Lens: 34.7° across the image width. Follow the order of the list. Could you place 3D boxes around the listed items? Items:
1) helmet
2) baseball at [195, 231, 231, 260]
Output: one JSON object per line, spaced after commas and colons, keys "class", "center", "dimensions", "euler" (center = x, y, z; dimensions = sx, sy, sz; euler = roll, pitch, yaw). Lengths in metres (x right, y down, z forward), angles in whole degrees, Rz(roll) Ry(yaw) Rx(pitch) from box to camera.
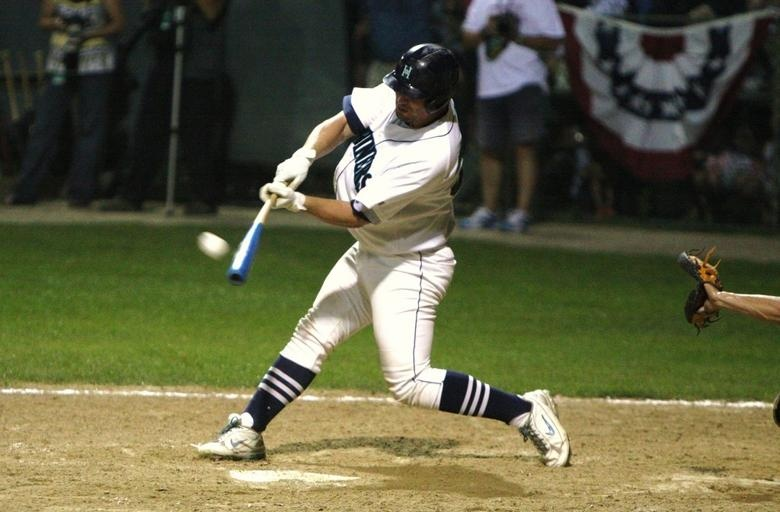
{"class": "helmet", "center": [0.220, -1.133, 8.041], "dimensions": [0.479, 0.378, 0.341], "euler": [-11, 61, -30]}
{"class": "baseball", "center": [-1.144, -0.071, 8.121], "dimensions": [0.229, 0.159, 0.126], "euler": [12, 8, 22]}
